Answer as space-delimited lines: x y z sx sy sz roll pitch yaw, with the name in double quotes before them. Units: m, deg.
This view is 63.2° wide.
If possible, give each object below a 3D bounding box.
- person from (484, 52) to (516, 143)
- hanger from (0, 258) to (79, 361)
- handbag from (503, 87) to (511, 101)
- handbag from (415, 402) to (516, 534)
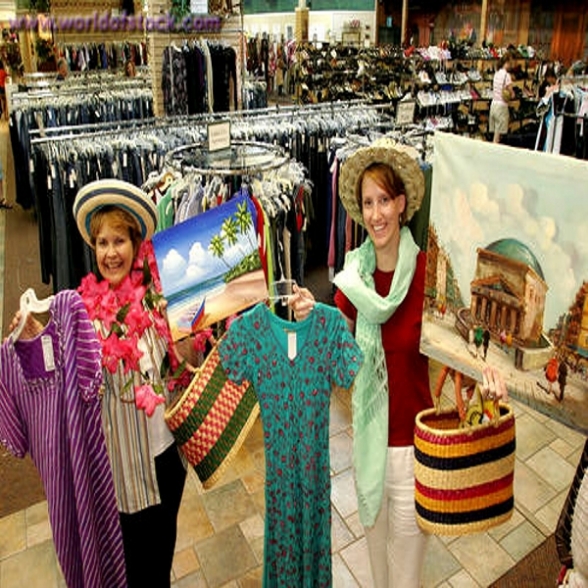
"person" 4.023 -3.736 9.286 0.394 1.602 0.919 4 19 23
"hanger" -1.412 0.052 2.639 0.537 0.346 0.046 -33 -2 9
"handbag" 4.002 -3.739 8.989 0.120 0.267 0.051 -1 4 -8
"handbag" 0.596 0.596 1.649 0.367 0.436 0.156 -8 17 -13
